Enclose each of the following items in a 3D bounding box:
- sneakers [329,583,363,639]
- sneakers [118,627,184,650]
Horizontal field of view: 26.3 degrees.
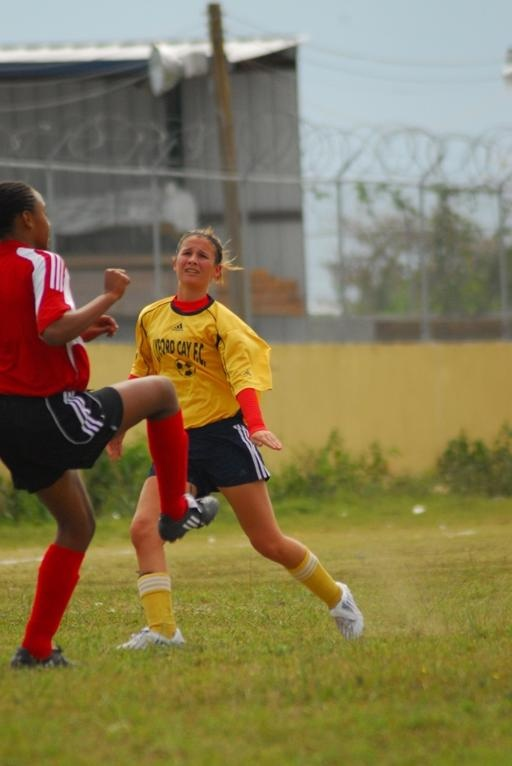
[{"bbox_3d":[0.344,0.895,4.275,0.066,0.168,0.104,-7,-27,-46],"label":"sneakers"},{"bbox_3d":[-0.377,0.932,3.993,0.238,0.099,0.083,0,-5,-11],"label":"sneakers"}]
